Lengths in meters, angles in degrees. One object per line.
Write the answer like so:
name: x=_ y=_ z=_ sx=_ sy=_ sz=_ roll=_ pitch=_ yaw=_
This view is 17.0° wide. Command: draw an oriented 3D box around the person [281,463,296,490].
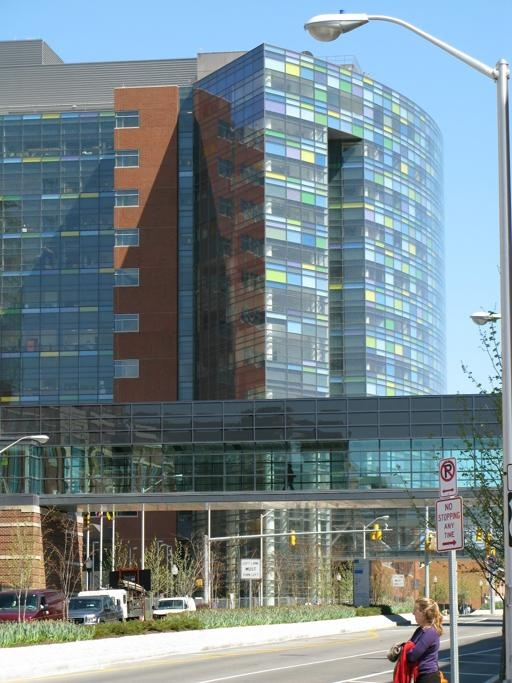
person: x=1.803 y=7.182 z=91.916 sx=0.691 sy=1.495 sz=0.551 roll=-2 pitch=-9 yaw=3

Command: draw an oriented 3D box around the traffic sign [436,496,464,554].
traffic sign: x=5.020 y=4.698 z=44.024 sx=0.358 sy=1.371 sz=1.104 roll=4 pitch=-11 yaw=-27
